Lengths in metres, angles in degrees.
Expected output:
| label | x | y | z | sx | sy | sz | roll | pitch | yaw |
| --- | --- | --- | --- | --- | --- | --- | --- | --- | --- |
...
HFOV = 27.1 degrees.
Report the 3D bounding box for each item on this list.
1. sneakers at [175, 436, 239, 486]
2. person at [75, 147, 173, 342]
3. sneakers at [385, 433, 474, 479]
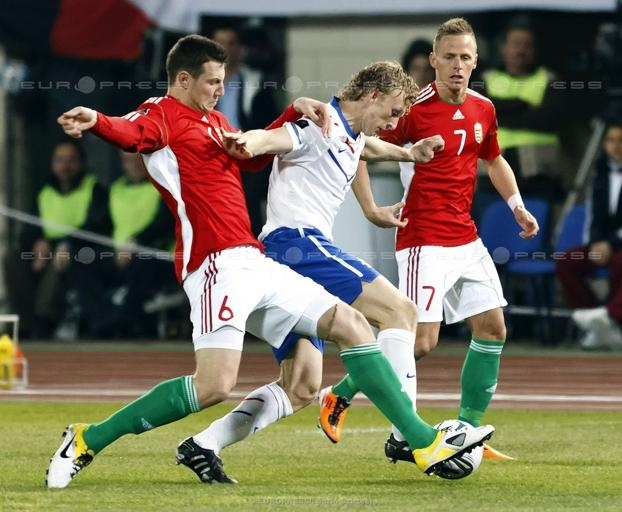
| label | x | y | z | sx | sy | sz | roll | pitch | yaw |
| --- | --- | --- | --- | --- | --- | --- | --- | --- | --- |
| sneakers | -0.607 | 1.236 | 7.712 | 0.440 | 0.209 | 0.156 | 40 | -7 | -19 |
| person | -1.977 | -0.091 | 14.027 | 1.315 | 2.579 | 1.103 | 3 | 6 | 3 |
| sneakers | 0.713 | 1.229 | 7.739 | 0.568 | 0.273 | 0.204 | 14 | -39 | -27 |
